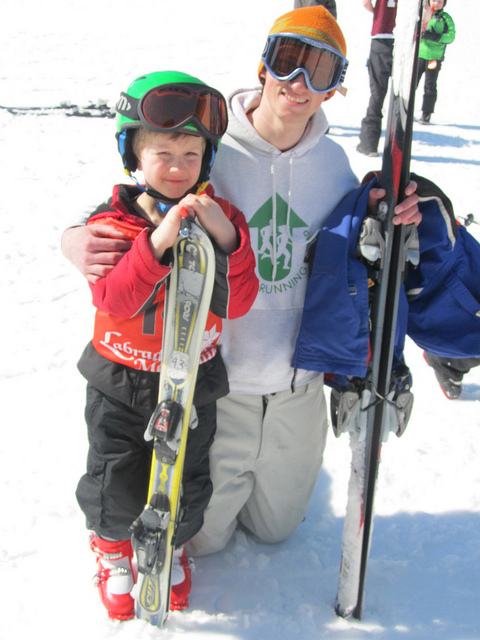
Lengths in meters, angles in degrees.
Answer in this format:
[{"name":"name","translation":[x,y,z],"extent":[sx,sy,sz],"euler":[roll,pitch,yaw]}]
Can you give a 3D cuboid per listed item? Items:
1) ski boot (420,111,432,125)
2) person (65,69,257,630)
[{"name":"ski boot","translation":[3.046,-3.294,9.342],"extent":[0.091,0.251,0.108],"euler":[17,36,24]},{"name":"person","translation":[-0.284,0.149,1.979],"extent":[0.691,1.838,0.622],"euler":[2,6,2]}]
